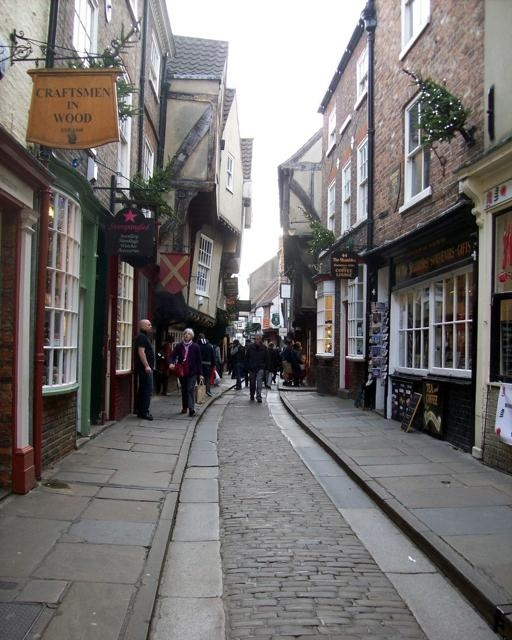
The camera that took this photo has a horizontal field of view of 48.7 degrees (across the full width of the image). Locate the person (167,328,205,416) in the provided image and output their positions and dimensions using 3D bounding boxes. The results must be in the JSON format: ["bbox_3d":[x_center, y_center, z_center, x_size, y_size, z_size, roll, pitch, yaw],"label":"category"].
[{"bbox_3d":[-1.456,1.048,11.610,0.624,1.777,0.759,3,-2,-6],"label":"person"}]

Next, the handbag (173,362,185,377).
[{"bbox_3d":[-1.548,1.000,11.359,0.205,0.283,0.249,3,-3,-8],"label":"handbag"}]

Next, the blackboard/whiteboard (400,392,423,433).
[{"bbox_3d":[2.668,1.586,9.706,0.071,0.837,0.432,24,-19,-2],"label":"blackboard/whiteboard"}]

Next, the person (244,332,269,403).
[{"bbox_3d":[0.037,1.276,15.302,0.481,1.955,0.618,-11,18,-40],"label":"person"}]

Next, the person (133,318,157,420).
[{"bbox_3d":[-2.161,0.920,10.879,0.401,1.235,1.446,3,-3,-12],"label":"person"}]

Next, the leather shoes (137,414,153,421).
[{"bbox_3d":[-2.060,1.807,10.488,0.275,0.155,0.106,1,-1,14],"label":"leather shoes"}]
